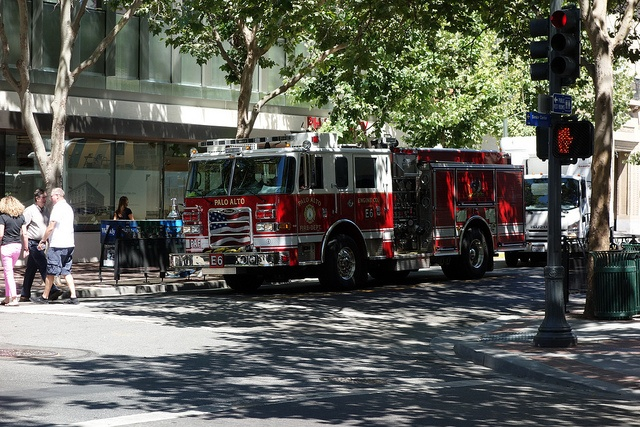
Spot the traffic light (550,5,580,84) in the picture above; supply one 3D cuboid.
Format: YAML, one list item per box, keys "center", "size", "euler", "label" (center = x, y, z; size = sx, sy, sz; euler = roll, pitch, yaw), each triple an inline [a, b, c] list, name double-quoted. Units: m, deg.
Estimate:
- center: [4.438, -3.053, 15.821]
  size: [0.512, 1.406, 0.527]
  euler: [1, -1, 1]
  label: "traffic light"

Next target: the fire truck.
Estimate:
- center: [1.437, 0.024, 24.977]
  size: [11.482, 4.137, 2.912]
  euler: [0, -4, -37]
  label: "fire truck"

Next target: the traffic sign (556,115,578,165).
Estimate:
- center: [4.596, -1.372, 15.912]
  size: [0.278, 0.935, 0.568]
  euler: [-4, -3, 29]
  label: "traffic sign"

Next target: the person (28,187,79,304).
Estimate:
- center: [-6.335, 0.679, 20.544]
  size: [0.785, 2.891, 1.149]
  euler: [0, 0, 35]
  label: "person"

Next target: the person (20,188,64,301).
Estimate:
- center: [-6.748, 0.791, 20.848]
  size: [1.056, 2.425, 0.910]
  euler: [2, -2, 10]
  label: "person"

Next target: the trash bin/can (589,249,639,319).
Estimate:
- center: [6.136, 1.529, 18.504]
  size: [1.298, 1.496, 1.265]
  euler: [0, -4, -2]
  label: "trash bin/can"
